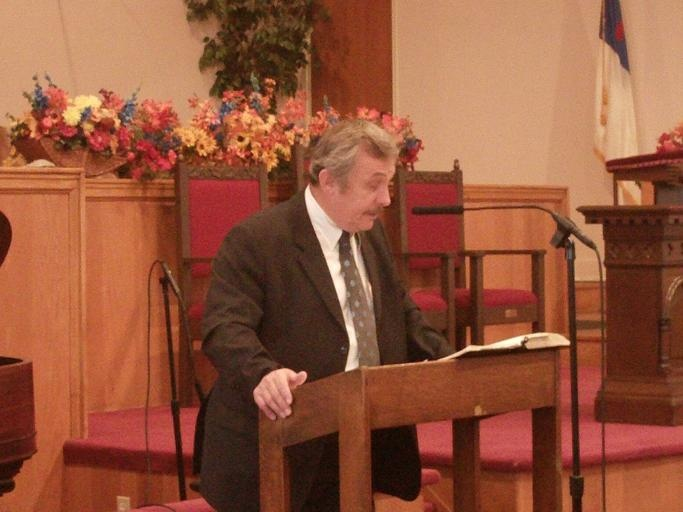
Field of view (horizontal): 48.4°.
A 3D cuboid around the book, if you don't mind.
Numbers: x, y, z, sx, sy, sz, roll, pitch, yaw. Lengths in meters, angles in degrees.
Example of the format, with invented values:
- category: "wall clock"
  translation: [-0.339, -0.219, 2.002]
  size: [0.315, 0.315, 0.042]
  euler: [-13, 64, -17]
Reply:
- category: "book"
  translation: [0.536, 0.302, 2.563]
  size: [0.545, 0.064, 0.169]
  euler: [-2, -1, -33]

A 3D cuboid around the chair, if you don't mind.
- category: "chair"
  translation: [0.043, 0.128, 3.111]
  size: [0.824, 1.417, 0.963]
  euler: [0, -3, 44]

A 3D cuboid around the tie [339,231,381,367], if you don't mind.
- category: "tie"
  translation: [0.071, 0.190, 2.856]
  size: [0.098, 0.637, 0.070]
  euler: [-6, -19, 0]
